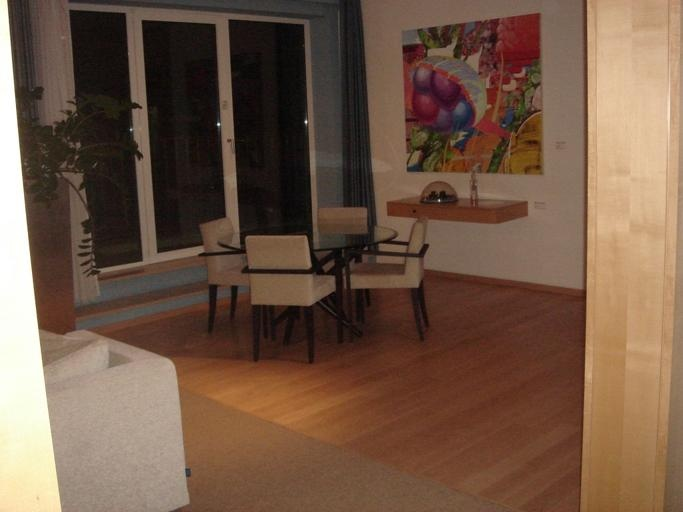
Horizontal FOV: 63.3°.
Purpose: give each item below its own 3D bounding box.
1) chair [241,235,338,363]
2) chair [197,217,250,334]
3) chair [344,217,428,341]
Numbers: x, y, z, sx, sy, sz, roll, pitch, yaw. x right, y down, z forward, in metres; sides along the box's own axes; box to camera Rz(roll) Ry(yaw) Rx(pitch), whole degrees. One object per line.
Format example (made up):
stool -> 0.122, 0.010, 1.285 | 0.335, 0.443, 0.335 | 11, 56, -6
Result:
chair -> -0.326, 0.227, 3.443 | 0.460, 0.715, 0.501 | 2, 10, 19
chair -> -0.676, 0.115, 3.791 | 0.459, 0.691, 0.430 | 1, 11, 12
chair -> 0.313, 0.134, 3.673 | 0.528, 0.745, 0.510 | 0, 11, 15
